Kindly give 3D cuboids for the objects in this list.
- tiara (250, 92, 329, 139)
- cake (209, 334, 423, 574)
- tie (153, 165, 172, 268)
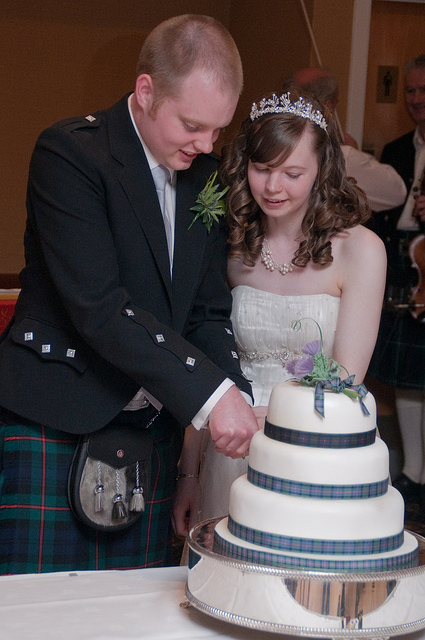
[{"bbox_3d":[0.218,-0.632,1.703,0.215,0.082,0.282,4,6,8],"label":"tiara"},{"bbox_3d":[0.151,0.167,0.938,0.381,0.399,0.372,2,-4,-2],"label":"cake"},{"bbox_3d":[-0.131,-0.288,1.491,0.030,0.247,0.041,-8,-6,43],"label":"tie"}]
